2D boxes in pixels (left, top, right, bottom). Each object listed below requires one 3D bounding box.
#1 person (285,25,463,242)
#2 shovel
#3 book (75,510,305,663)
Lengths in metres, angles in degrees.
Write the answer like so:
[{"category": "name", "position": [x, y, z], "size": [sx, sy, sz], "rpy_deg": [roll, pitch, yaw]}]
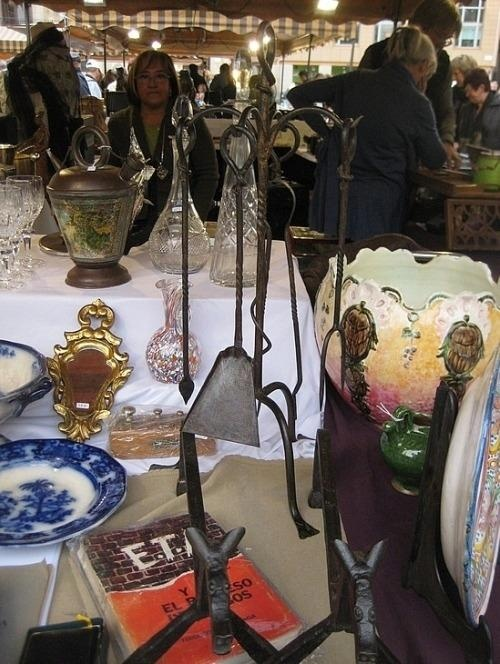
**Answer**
[{"category": "person", "position": [0.449, -0.661, 1.875], "size": [0.449, 0.706, 0.493], "rpy_deg": [-3, 21, -12]}, {"category": "shovel", "position": [-0.013, -0.013, 0.423], "size": [0.077, 0.217, 0.044], "rpy_deg": [14, 24, 29]}, {"category": "book", "position": [-0.057, 0.226, 0.466], "size": [0.103, 0.014, 0.137], "rpy_deg": [-2, 22, -22]}]
